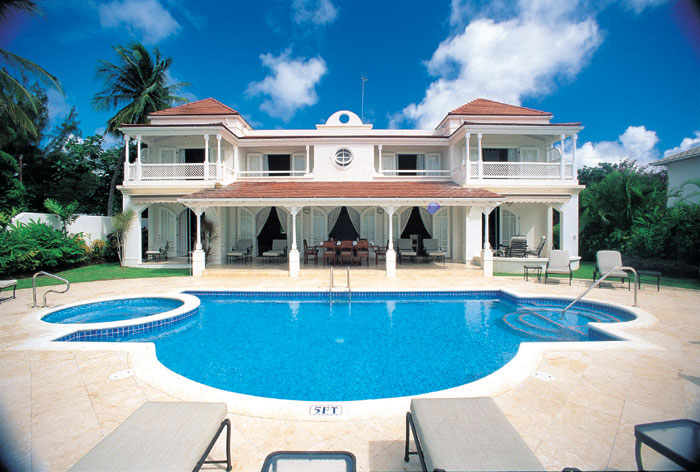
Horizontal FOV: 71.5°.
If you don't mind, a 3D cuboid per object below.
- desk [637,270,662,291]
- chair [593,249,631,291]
[{"bbox_3d":[14.610,2.067,23.677,0.939,0.923,4.635,-1,-2,32],"label":"desk"},{"bbox_3d":[12.833,1.593,23.947,1.764,2.174,2.507,-1,0,21],"label":"chair"}]
